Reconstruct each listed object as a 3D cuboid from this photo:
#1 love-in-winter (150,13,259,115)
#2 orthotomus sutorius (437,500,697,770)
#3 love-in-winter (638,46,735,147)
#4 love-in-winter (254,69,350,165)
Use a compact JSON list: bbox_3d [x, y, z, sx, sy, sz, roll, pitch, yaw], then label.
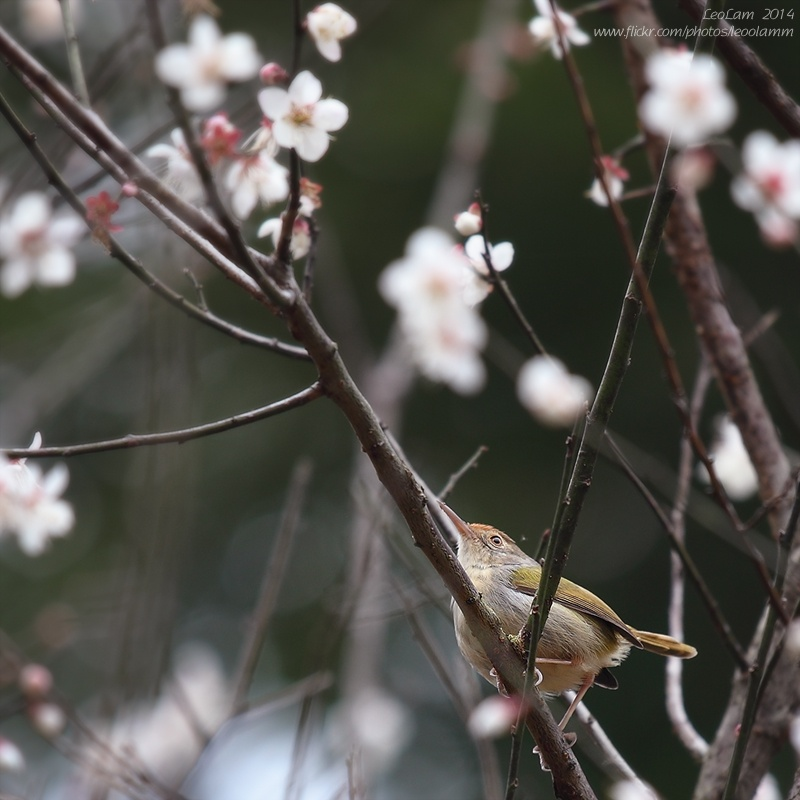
[{"bbox_3d":[-0.429,-0.776,2.681,0.140,0.448,0.237,-4,-51,11],"label":"love-in-winter"},{"bbox_3d":[0.466,0.676,3.604,0.677,0.910,0.773,8,-16,5],"label":"orthotomus sutorius"},{"bbox_3d":[0.792,-0.845,3.222,0.342,0.392,0.107,8,-33,15],"label":"love-in-winter"},{"bbox_3d":[-0.226,-0.656,2.698,0.221,0.190,0.067,61,-26,-8],"label":"love-in-winter"}]
